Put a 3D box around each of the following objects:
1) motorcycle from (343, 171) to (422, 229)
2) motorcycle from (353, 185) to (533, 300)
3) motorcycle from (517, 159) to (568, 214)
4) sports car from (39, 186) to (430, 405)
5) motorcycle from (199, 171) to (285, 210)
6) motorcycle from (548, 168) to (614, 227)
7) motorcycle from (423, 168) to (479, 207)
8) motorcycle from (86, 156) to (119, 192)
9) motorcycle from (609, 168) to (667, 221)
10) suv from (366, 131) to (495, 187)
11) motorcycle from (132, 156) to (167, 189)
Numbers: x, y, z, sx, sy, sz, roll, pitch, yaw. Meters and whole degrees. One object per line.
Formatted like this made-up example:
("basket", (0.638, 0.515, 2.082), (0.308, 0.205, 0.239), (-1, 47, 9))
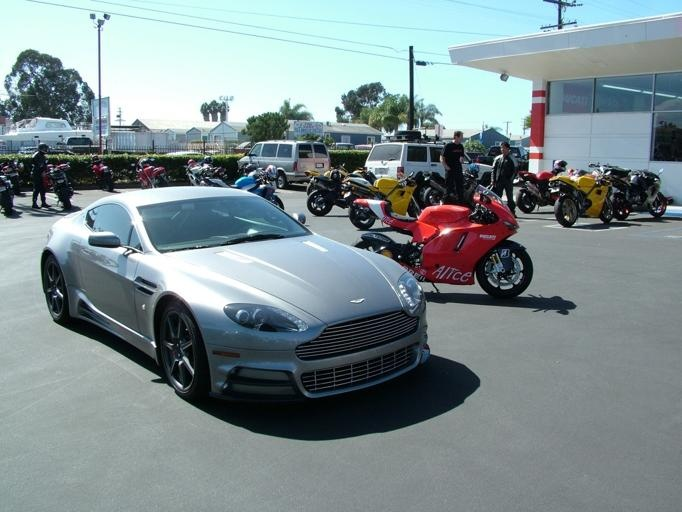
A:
("motorcycle", (1.235, -1.558, 13.013), (2.546, 1.598, 1.085), (-2, -12, -22))
("motorcycle", (1.787, -0.377, 7.788), (3.276, 1.911, 1.272), (3, 18, 14))
("motorcycle", (7.189, -2.579, 17.187), (2.832, 1.662, 1.068), (-7, 1, -31))
("sports car", (-1.380, 0.221, 4.776), (1.912, 1.132, 3.629), (-9, 14, -39))
("motorcycle", (-2.673, -1.708, 13.079), (2.494, 1.354, 1.138), (1, -2, -31))
("motorcycle", (7.395, -1.840, 14.542), (3.094, 1.638, 1.125), (-6, 1, -35))
("motorcycle", (3.215, -1.987, 13.602), (1.942, 1.118, 0.874), (6, 5, 24))
("motorcycle", (-11.864, -4.038, 23.197), (0.912, 1.261, 2.124), (-22, 2, 1))
("motorcycle", (9.417, -2.002, 15.525), (2.641, 1.712, 0.727), (-9, 13, -31))
("suv", (2.476, -3.871, 18.827), (3.334, 1.620, 1.837), (-10, 18, -27))
("motorcycle", (-8.136, -3.603, 20.722), (0.905, 1.215, 1.338), (-12, 15, -40))
